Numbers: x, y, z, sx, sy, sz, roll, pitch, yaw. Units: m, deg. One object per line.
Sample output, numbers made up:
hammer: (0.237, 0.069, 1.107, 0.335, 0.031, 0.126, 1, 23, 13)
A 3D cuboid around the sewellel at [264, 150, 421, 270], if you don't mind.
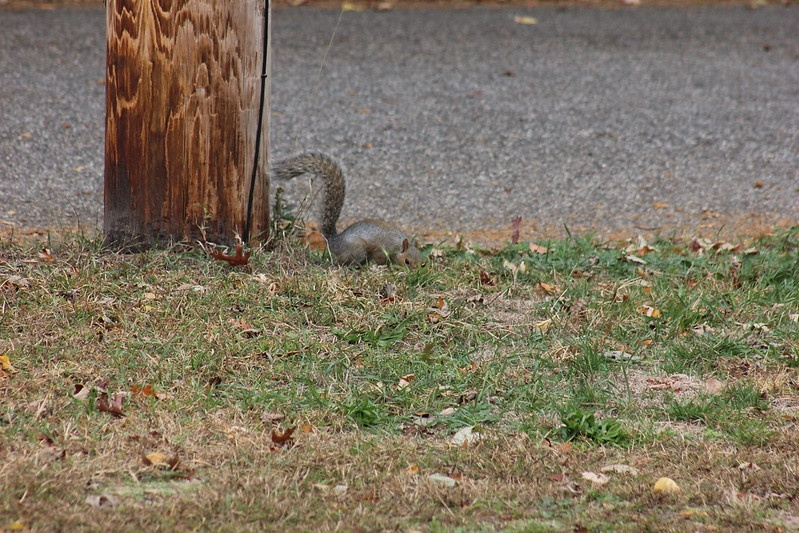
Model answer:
sewellel: (-0.441, -0.497, 10.550, 1.321, 0.937, 0.672, 6, 20, 9)
